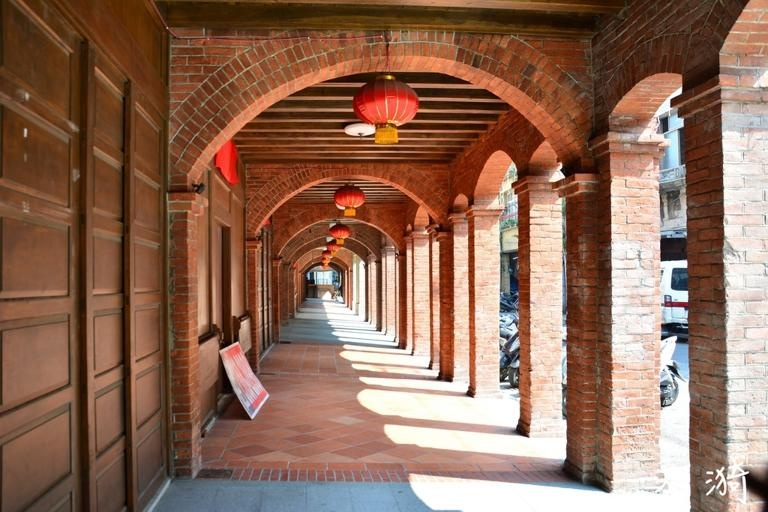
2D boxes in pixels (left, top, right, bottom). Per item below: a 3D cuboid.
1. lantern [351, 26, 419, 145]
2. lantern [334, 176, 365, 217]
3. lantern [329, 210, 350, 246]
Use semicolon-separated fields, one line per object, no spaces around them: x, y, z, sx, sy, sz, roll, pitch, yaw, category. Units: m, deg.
0.030;-1.798;5.737;0.670;1.193;0.671;-2;3;-40;lantern
-0.635;-1.036;10.356;0.589;0.552;0.555;-1;-3;3;lantern
-1.222;-0.726;15.203;0.790;1.051;0.760;-1;-2;-14;lantern
